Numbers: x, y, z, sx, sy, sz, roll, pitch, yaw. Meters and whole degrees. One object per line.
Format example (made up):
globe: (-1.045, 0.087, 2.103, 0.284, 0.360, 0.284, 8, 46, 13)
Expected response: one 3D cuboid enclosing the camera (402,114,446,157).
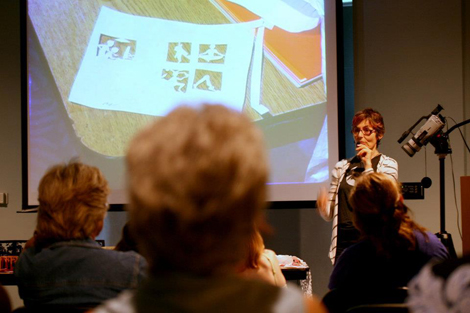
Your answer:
camera: (1.678, -0.197, 3.965, 0.152, 0.169, 0.421, -27, -22, -44)
